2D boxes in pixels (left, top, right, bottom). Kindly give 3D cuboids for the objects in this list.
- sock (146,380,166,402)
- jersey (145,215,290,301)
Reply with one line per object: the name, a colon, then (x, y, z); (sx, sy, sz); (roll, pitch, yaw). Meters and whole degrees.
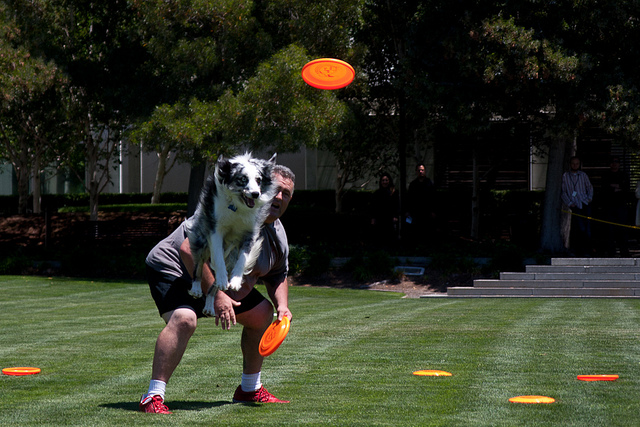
sock: (-2.950, 3.162, 20.458); (0.275, 0.435, 0.346); (3, 2, -24)
jersey: (-2.071, 1.271, 20.935); (1.385, 2.449, 3.311); (4, -4, -21)
